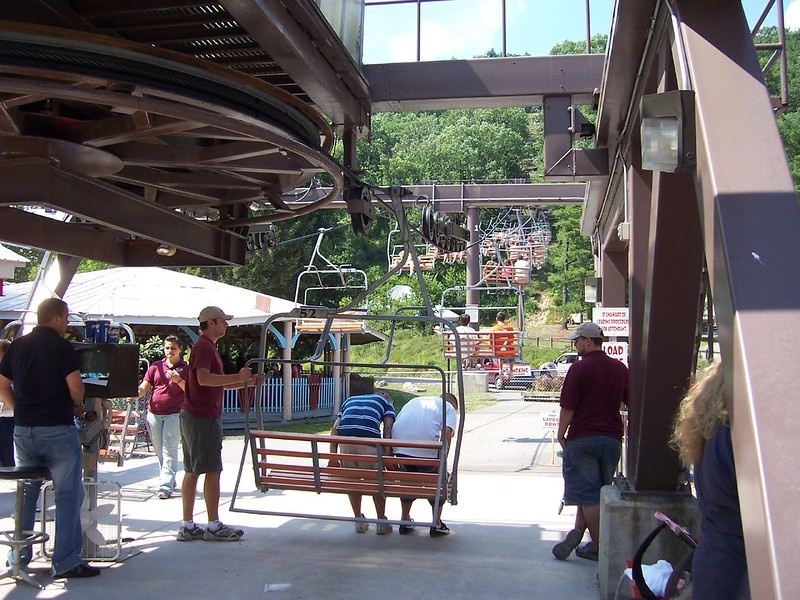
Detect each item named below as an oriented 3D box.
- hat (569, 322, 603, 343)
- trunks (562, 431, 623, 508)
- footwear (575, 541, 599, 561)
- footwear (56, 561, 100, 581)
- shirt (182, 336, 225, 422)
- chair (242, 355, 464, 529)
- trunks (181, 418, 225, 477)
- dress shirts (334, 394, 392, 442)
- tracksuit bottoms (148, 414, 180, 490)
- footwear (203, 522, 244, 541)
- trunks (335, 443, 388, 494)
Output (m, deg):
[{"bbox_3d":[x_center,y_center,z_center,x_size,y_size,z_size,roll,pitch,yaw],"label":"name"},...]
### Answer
[{"bbox_3d":[1.694,0.295,7.309,0.220,0.137,0.165,2,-3,15],"label":"hat"},{"bbox_3d":[1.658,1.477,6.979,0.485,0.618,0.307,-1,-3,15],"label":"trunks"},{"bbox_3d":[1.642,2.210,7.082,0.103,0.098,0.211,5,-2,-31],"label":"footwear"},{"bbox_3d":[-2.607,2.219,6.594,0.365,0.160,0.130,1,-4,-11],"label":"footwear"},{"bbox_3d":[-1.859,0.722,7.567,0.349,0.787,0.347,1,-3,-16],"label":"shirt"},{"bbox_3d":[-0.766,1.725,10.024,2.368,1.919,1.459,1,-4,13],"label":"chair"},{"bbox_3d":[-1.877,1.350,7.529,0.377,0.584,0.256,0,-3,-12],"label":"trunks"},{"bbox_3d":[-0.304,1.080,7.643,0.552,0.393,0.702,-4,9,4],"label":"dress shirts"},{"bbox_3d":[-2.844,1.841,9.729,0.333,0.933,0.582,1,-3,-25],"label":"tracksuit bottoms"},{"bbox_3d":[-1.676,2.198,7.638,0.397,0.205,0.160,3,-4,-10],"label":"footwear"},{"bbox_3d":[-0.362,1.593,7.560,0.679,0.487,0.330,1,3,7],"label":"trunks"}]
